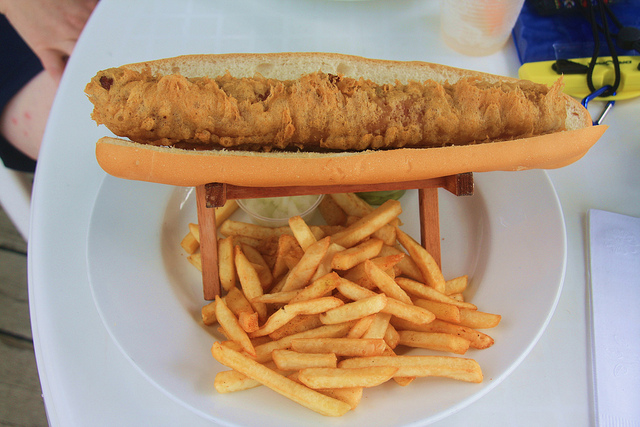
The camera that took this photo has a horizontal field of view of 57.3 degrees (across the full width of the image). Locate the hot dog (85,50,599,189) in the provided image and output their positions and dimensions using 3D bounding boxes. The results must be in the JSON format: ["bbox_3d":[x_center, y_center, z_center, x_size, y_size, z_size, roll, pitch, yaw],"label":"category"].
[{"bbox_3d":[0.153,-0.501,3.256,2.720,0.654,0.872,0,56,-6],"label":"hot dog"}]
